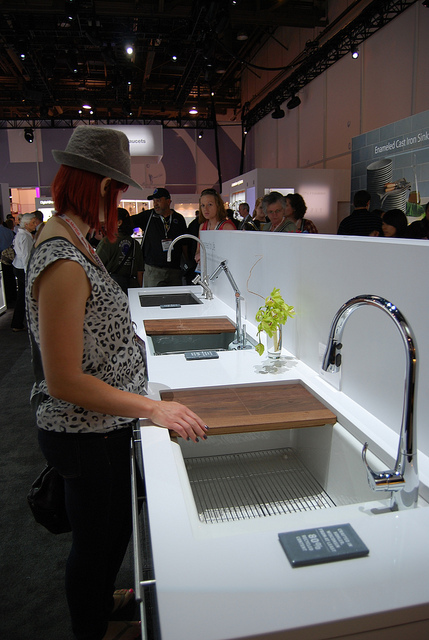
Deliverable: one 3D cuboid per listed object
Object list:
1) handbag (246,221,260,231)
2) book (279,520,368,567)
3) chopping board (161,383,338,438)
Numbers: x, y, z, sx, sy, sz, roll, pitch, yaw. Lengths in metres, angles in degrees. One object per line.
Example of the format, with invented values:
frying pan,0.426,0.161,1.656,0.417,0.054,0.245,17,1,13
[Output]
handbag,0.470,-1.131,4.687,0.101,0.101,0.292,1,5,19
book,0.164,0.327,0.601,0.134,0.013,0.097,-4,-1,-26
chopping board,0.099,0.286,1.323,0.546,0.017,0.483,-2,3,-16
